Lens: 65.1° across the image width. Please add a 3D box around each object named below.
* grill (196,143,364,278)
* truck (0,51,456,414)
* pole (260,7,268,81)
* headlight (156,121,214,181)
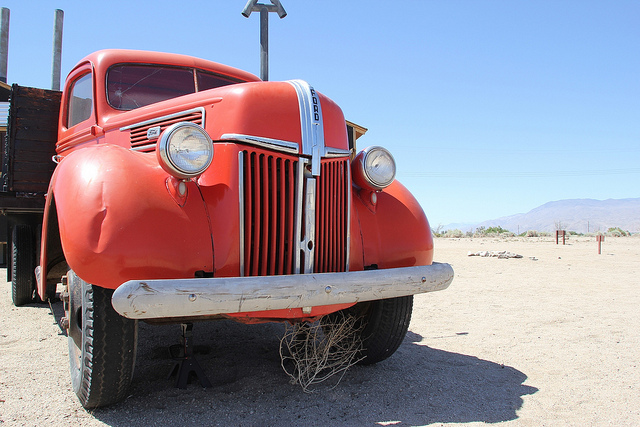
[{"bbox_3d":[-0.336,0.046,4.385,1.206,0.759,1.204,4,-14,-28],"label":"grill"},{"bbox_3d":[-1.786,0.010,6.145,3.058,2.714,5.491,4,-9,-34],"label":"truck"},{"bbox_3d":[-0.807,-2.527,7.432,0.096,1.130,0.382,0,6,-10],"label":"pole"},{"bbox_3d":[-1.125,-0.530,4.301,0.472,0.509,0.277,-2,0,-24],"label":"headlight"}]
